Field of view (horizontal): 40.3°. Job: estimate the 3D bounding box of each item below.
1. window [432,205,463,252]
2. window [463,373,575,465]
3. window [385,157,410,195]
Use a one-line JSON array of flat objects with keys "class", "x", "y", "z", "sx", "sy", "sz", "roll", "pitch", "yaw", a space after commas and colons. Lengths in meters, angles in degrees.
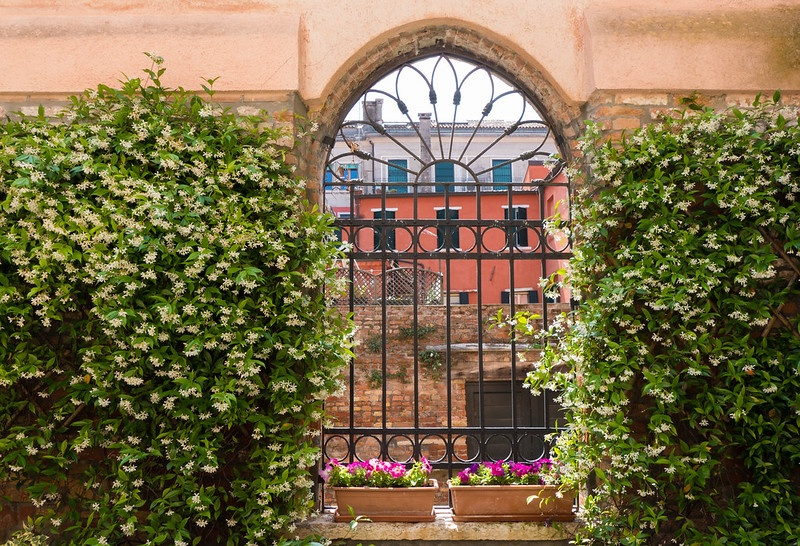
[{"class": "window", "x": 0.366, "y": -0.345, "z": 8.369, "sx": 0.201, "sy": 0.347, "sz": 0.016, "roll": 3, "pitch": -14, "yaw": -13}, {"class": "window", "x": 1.387, "y": 1.825, "z": 13.409, "sx": 1.701, "sy": 1.135, "sz": 0.164, "roll": 8, "pitch": -2, "yaw": -44}, {"class": "window", "x": -0.057, "y": -1.992, "z": 22.854, "sx": 0.426, "sy": 0.762, "sz": 0.062, "roll": -7, "pitch": 23, "yaw": -16}]
